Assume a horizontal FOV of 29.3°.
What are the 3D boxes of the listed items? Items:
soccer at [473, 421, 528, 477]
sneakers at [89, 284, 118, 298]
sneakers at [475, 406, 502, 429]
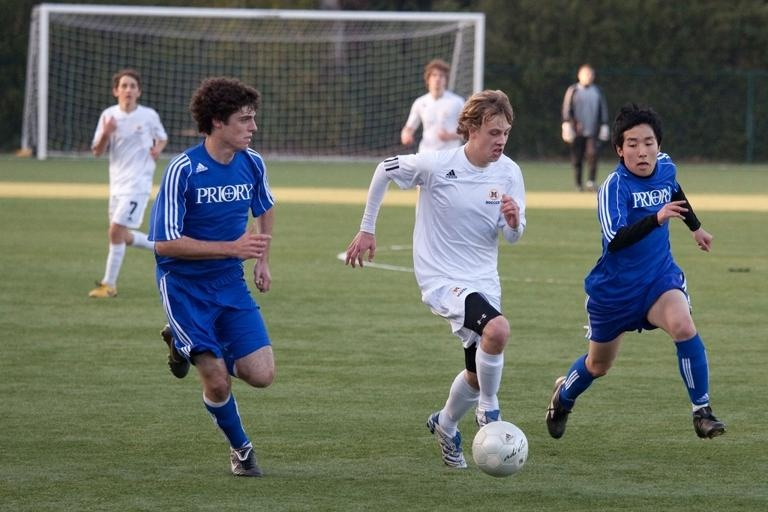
[{"bbox_3d":[1.197,2.067,15.545,0.666,0.601,0.582,7,6,11],"label":"soccer"},{"bbox_3d":[-3.645,0.460,19.115,0.341,0.141,0.162,2,3,5],"label":"sneakers"},{"bbox_3d":[1.104,1.740,15.684,0.253,0.189,0.192,7,2,34],"label":"sneakers"}]
